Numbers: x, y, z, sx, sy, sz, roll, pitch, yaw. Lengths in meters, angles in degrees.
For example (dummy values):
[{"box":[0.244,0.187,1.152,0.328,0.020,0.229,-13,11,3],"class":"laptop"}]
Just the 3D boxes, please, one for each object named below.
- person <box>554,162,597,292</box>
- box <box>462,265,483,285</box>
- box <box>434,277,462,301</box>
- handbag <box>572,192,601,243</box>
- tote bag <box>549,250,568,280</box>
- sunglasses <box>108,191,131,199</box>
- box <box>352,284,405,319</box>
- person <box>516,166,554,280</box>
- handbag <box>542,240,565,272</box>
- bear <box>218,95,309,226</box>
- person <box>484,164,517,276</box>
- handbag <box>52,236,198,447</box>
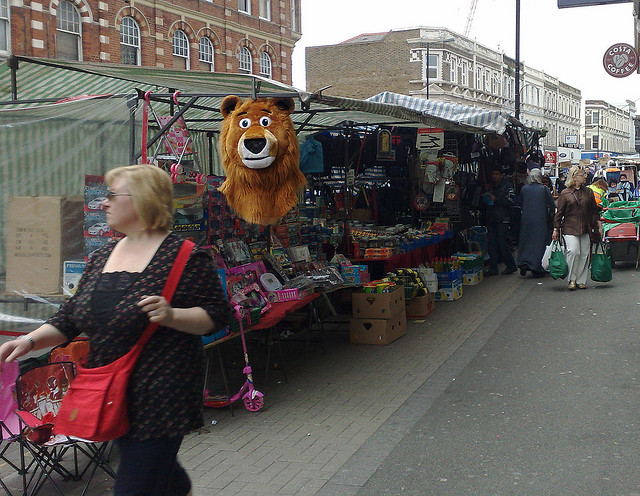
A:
[{"box":[4.319,-0.305,11.465,0.520,2.140,0.755,3,9,42],"class":"person"},{"box":[2.930,0.429,13.021,0.318,0.274,0.590,0,4,26],"class":"box"},{"box":[2.186,0.717,11.517,0.414,0.243,0.409,-3,2,17],"class":"box"},{"box":[4.525,-0.515,11.482,0.679,0.883,0.205,-7,8,-33],"class":"handbag"},{"box":[4.074,0.301,11.539,0.302,0.499,0.275,-1,7,13],"class":"tote bag"},{"box":[-1.034,-0.272,3.444,0.146,0.039,0.046,3,9,39],"class":"sunglasses"},{"box":[0.746,0.704,8.711,0.507,0.391,0.597,0,7,24],"class":"box"},{"box":[4.135,-0.439,13.055,0.666,2.158,0.636,-1,7,16],"class":"person"},{"box":[4.166,0.126,12.076,0.361,0.641,0.544,7,14,39],"class":"handbag"},{"box":[-0.566,-0.926,6.986,0.784,1.265,0.728,4,12,9],"class":"bear"},{"box":[3.773,-0.535,14.248,0.653,2.247,1.377,-1,7,14],"class":"person"},{"box":[-0.961,0.460,3.356,0.722,0.960,0.275,-6,7,-24],"class":"handbag"}]
